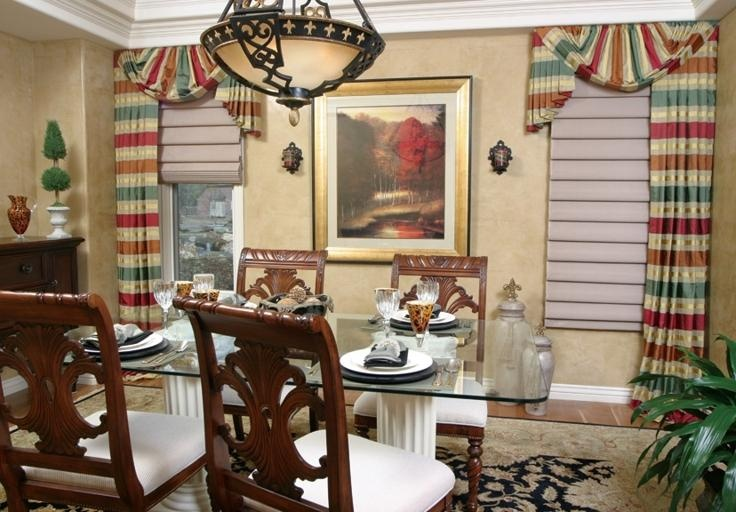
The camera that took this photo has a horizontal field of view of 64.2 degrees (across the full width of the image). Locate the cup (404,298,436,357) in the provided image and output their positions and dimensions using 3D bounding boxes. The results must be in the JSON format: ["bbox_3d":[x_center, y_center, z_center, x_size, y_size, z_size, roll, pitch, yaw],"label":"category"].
[{"bbox_3d":[0.256,0.348,2.987,0.206,0.322,0.210,0,1,0],"label":"cup"}]

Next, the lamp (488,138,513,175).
[{"bbox_3d":[1.017,-0.770,4.511,0.186,0.265,0.095,2,3,11],"label":"lamp"}]

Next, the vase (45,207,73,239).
[{"bbox_3d":[-2.409,-0.266,4.581,0.206,0.236,0.199,-1,3,0],"label":"vase"}]

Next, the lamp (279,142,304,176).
[{"bbox_3d":[-0.621,-0.806,4.775,0.184,0.264,0.106,1,3,-3],"label":"lamp"}]

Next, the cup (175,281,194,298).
[{"bbox_3d":[-1.031,0.174,3.244,0.132,0.105,0.137,0,-1,0],"label":"cup"}]

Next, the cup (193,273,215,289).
[{"bbox_3d":[-0.935,0.134,3.289,0.115,0.094,0.090,1,1,14],"label":"cup"}]
